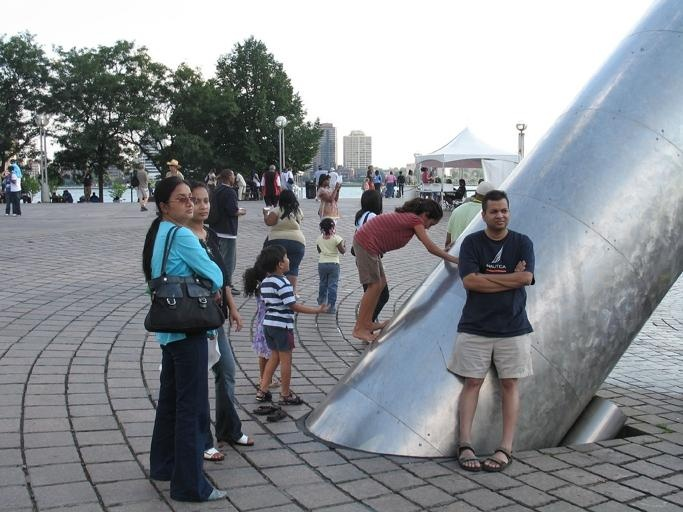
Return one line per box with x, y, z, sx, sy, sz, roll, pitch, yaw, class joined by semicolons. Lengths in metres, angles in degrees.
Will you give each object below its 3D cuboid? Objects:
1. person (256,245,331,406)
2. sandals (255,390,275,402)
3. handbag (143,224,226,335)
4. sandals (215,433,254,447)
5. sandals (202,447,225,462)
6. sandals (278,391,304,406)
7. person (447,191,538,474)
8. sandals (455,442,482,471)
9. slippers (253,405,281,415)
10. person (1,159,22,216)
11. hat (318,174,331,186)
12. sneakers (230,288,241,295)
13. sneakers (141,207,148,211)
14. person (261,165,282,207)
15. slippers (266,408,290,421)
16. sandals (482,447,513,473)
-0.535;0.611;5.385;0.616;1.366;0.331;12;12;40;person
-0.672;1.213;5.456;0.065;0.088;0.178;4;3;42;sandals
-1.040;0.146;3.928;0.479;0.785;0.245;3;-20;-37;handbag
-0.800;1.308;4.566;0.239;0.100;0.108;-3;5;-4;sandals
-0.899;1.363;4.354;0.151;0.073;0.076;-1;2;24;sandals
-0.446;1.237;5.439;0.193;0.104;0.092;0;7;-13;sandals
1.027;0.493;4.247;0.562;1.807;0.529;7;10;19;person
0.856;1.349;4.182;0.077;0.096;0.234;-4;-2;-2;sandals
-0.627;1.264;5.170;0.160;0.057;0.095;2;3;-12;slippers
-10.868;-2.149;20.451;0.469;1.634;1.594;-1;11;-29;person
-0.338;-1.454;11.971;0.223;0.344;0.210;-4;13;-11;hat
-1.630;0.547;9.534;0.064;0.091;0.203;10;-18;6;sneakers
-7.466;-1.783;23.492;0.262;0.198;0.107;-13;31;-30;sneakers
-2.556;-2.402;22.287;0.579;1.820;0.465;-1;32;-8;person
-0.533;1.283;5.070;0.073;0.055;0.120;9;13;23;slippers
1.034;1.350;4.162;0.096;0.097;0.227;10;0;39;sandals
